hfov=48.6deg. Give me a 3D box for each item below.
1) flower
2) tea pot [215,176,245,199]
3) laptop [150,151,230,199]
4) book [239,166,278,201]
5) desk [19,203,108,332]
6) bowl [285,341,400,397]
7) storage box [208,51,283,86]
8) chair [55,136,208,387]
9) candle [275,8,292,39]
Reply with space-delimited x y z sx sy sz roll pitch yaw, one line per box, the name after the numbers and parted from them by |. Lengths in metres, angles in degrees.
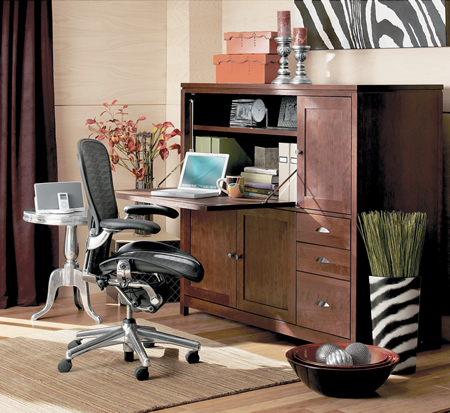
-0.670 -0.413 3.846 0.565 0.538 0.602 -10 -11 27 | flower
-0.001 -0.109 2.820 0.189 0.114 0.111 -3 9 -20 | tea pot
-0.212 -0.175 2.897 0.354 0.202 0.314 7 17 39 | laptop
0.193 -0.148 2.955 0.193 0.183 0.309 -4 7 -36 | book
-1.014 0.371 3.608 0.822 0.772 0.795 1 1 -38 | desk
0.484 0.693 2.085 0.456 0.173 0.274 1 1 18 | bowl
0.127 -0.891 3.217 0.551 0.211 0.306 5 7 43 | storage box
-0.448 0.264 2.455 0.787 0.963 0.704 3 3 4 | chair
0.359 -1.094 2.992 0.070 0.207 0.165 1 1 10 | candle
